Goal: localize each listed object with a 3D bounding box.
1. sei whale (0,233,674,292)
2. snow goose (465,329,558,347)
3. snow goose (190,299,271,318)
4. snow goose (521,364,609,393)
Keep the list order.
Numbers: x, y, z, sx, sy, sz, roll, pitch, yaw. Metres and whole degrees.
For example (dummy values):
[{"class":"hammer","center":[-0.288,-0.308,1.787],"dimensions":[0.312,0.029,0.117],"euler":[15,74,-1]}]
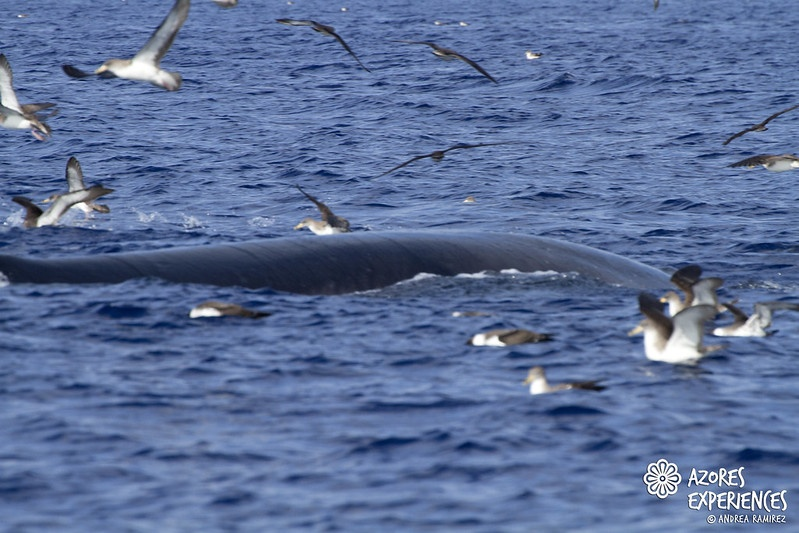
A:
[{"class":"sei whale","center":[-1.100,-0.029,17.955],"dimensions":[13.682,1.097,0.804],"euler":[0,57,-10]},{"class":"snow goose","center":[1.570,1.039,16.048],"dimensions":[1.424,0.292,0.144],"euler":[-5,85,-6]},{"class":"snow goose","center":[-2.564,0.652,16.571],"dimensions":[1.493,0.207,0.376],"euler":[-3,22,-10]},{"class":"snow goose","center":[2.130,1.522,14.600],"dimensions":[0.952,0.557,0.353],"euler":[-14,52,4]}]
